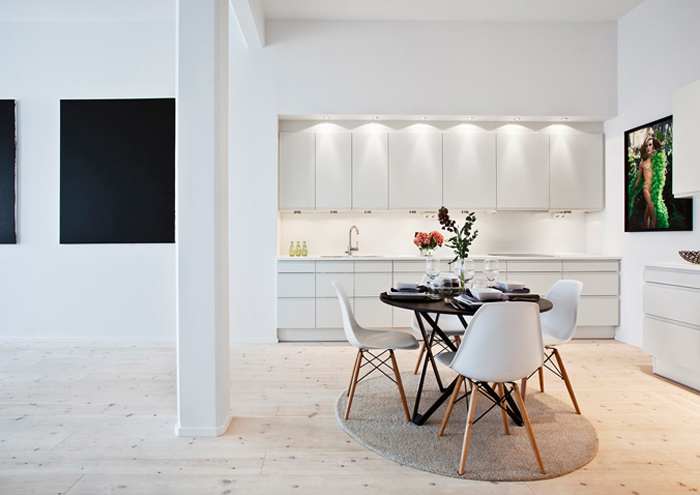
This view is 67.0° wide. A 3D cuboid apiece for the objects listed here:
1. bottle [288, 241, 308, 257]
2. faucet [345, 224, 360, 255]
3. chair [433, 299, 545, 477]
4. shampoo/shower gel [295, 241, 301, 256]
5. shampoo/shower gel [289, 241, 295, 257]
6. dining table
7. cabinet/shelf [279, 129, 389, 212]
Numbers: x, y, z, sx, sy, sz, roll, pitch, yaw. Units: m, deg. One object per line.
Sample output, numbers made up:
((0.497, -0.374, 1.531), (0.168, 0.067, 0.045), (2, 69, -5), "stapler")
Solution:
((-0.698, 0.028, 7.262), (0.213, 0.167, 0.080), (0, -5, -3), "bottle")
((0.055, -0.097, 7.351), (0.205, 0.400, 0.113), (-1, 3, -2), "faucet")
((1.200, 1.133, 4.490), (0.878, 1.408, 0.615), (0, 3, 7), "chair")
((-0.681, 0.015, 7.262), (0.066, 0.182, 0.177), (-1, 2, -7), "shampoo/shower gel")
((-0.766, 0.019, 7.239), (0.094, 0.188, 0.275), (-1, 2, -6), "shampoo/shower gel")
((0.957, 0.943, 4.859), (1.314, 0.964, 1.303), (-1, -3, 1), "dining table")
((-0.180, -0.748, 7.393), (1.908, 1.283, 0.966), (0, -1, -2), "cabinet/shelf")
